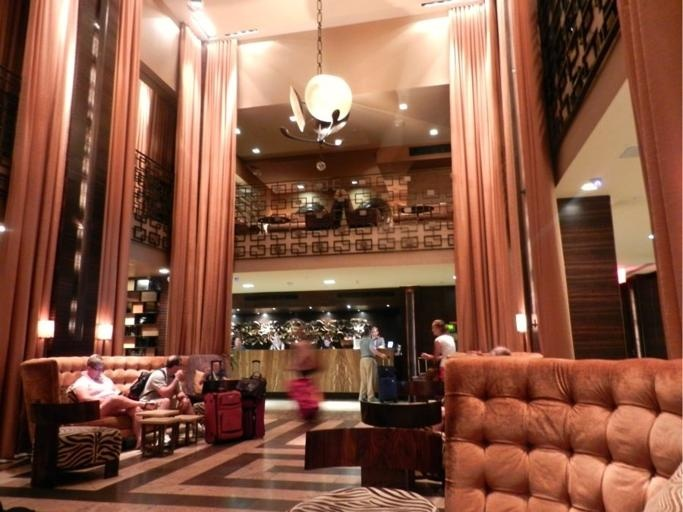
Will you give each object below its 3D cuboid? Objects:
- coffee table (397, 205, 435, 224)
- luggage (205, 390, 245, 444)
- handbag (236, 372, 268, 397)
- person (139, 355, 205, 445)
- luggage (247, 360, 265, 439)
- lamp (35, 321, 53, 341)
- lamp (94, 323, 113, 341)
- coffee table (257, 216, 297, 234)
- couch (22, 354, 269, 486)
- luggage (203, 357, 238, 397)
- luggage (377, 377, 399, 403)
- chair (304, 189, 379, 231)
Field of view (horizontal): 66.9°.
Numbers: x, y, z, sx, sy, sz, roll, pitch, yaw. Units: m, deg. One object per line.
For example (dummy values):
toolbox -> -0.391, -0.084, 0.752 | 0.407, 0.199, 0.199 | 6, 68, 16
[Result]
coffee table -> 1.664, -0.961, 11.782 | 0.870, 0.528, 0.634 | -1, -9, 6
luggage -> -1.557, 2.164, 6.827 | 0.408, 0.761, 0.556 | -11, -12, 35
handbag -> -1.263, 1.914, 7.378 | 0.445, 0.247, 0.427 | 2, 17, 10
person -> -2.353, 1.918, 6.999 | 0.812, 1.049, 0.610 | 0, -16, -13
luggage -> -1.209, 2.044, 7.347 | 0.267, 1.061, 0.238 | -2, -2, -7
lamp -> -3.742, 0.948, 6.555 | 0.194, 0.215, 0.198 | -2, -12, -6
lamp -> -3.639, 1.170, 7.907 | 0.248, 0.282, 0.250 | -2, -4, 8
coffee table -> -1.567, -0.729, 12.213 | 0.824, 0.503, 0.411 | 0, -9, -6
couch -> -2.546, 1.848, 6.494 | 1.803, 1.196, 3.146 | -6, -10, 29
luggage -> -1.918, 1.894, 7.995 | 0.288, 0.549, 0.591 | -3, -3, -17
luggage -> 0.388, 1.115, 4.295 | 0.145, 0.192, 0.384 | -1, -9, 4
chair -> 0.106, -1.040, 12.077 | 1.011, 0.654, 1.040 | -1, -7, 10
